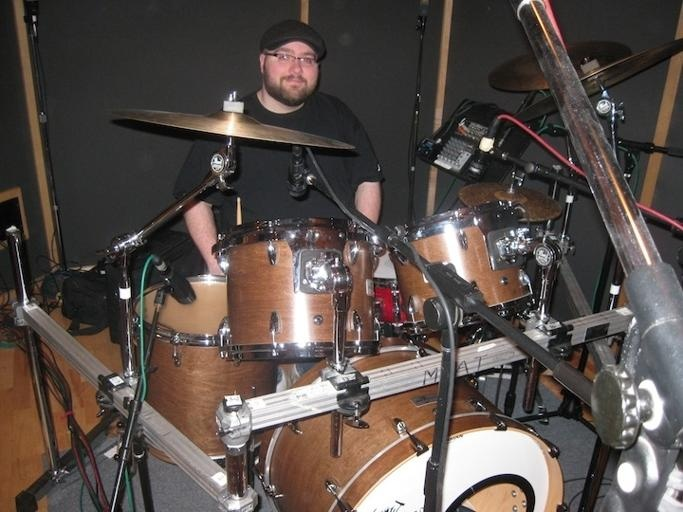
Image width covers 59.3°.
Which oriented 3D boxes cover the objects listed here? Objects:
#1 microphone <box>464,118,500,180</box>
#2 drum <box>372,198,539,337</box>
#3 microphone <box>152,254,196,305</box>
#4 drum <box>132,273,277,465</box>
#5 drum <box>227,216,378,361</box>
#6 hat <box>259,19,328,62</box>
[{"bbox_3d":[0.496,-0.398,2.061,0.054,0.069,0.232,27,-23,7],"label":"microphone"},{"bbox_3d":[0.460,-0.007,2.455,0.538,0.397,0.559,-15,-18,-5],"label":"drum"},{"bbox_3d":[-0.694,0.099,2.509,0.124,0.055,0.224,-4,-15,-3],"label":"microphone"},{"bbox_3d":[-0.512,0.667,2.679,0.474,0.483,0.480,-5,-17,25],"label":"drum"},{"bbox_3d":[-0.193,0.146,2.151,0.532,0.422,0.547,-2,-2,0],"label":"drum"},{"bbox_3d":[-0.244,-1.059,2.906,0.240,0.161,0.318,-7,1,-14],"label":"hat"}]
